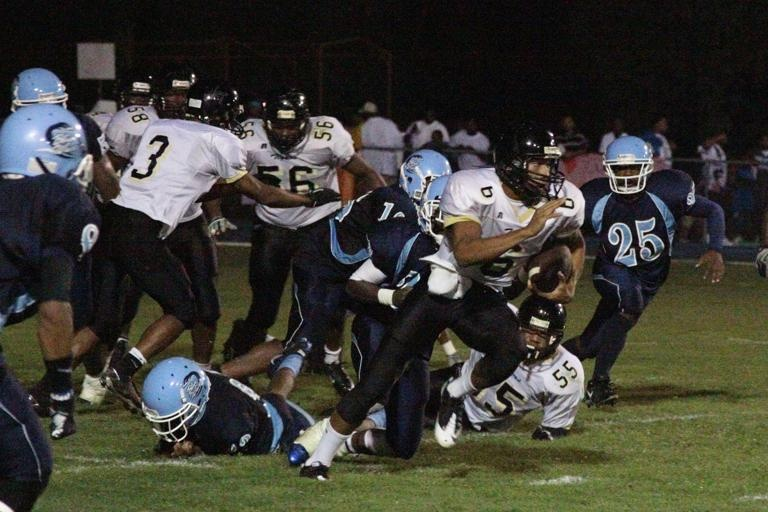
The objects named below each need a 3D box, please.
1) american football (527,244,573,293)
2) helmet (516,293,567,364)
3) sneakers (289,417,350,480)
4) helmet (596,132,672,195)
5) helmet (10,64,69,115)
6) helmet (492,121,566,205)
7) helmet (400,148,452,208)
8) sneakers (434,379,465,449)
[{"bbox_3d":[1.027,0.088,5.969,0.272,0.302,0.096,3,14,6],"label":"american football"},{"bbox_3d":[1.001,0.441,6.262,0.335,0.337,0.423,16,25,8],"label":"helmet"},{"bbox_3d":[-0.381,1.165,5.739,0.199,0.422,0.247,46,15,20],"label":"sneakers"},{"bbox_3d":[1.900,-0.710,7.273,0.400,0.350,0.477,-6,12,23],"label":"helmet"},{"bbox_3d":[-2.503,-1.151,6.951,0.387,0.363,0.479,-12,39,-35],"label":"helmet"},{"bbox_3d":[0.861,-0.546,5.821,0.519,0.433,0.378,7,0,24],"label":"helmet"},{"bbox_3d":[0.304,-0.550,6.801,0.383,0.381,0.440,-3,9,-37],"label":"helmet"},{"bbox_3d":[0.427,0.987,6.027,0.191,0.423,0.159,-21,-29,40],"label":"sneakers"}]
